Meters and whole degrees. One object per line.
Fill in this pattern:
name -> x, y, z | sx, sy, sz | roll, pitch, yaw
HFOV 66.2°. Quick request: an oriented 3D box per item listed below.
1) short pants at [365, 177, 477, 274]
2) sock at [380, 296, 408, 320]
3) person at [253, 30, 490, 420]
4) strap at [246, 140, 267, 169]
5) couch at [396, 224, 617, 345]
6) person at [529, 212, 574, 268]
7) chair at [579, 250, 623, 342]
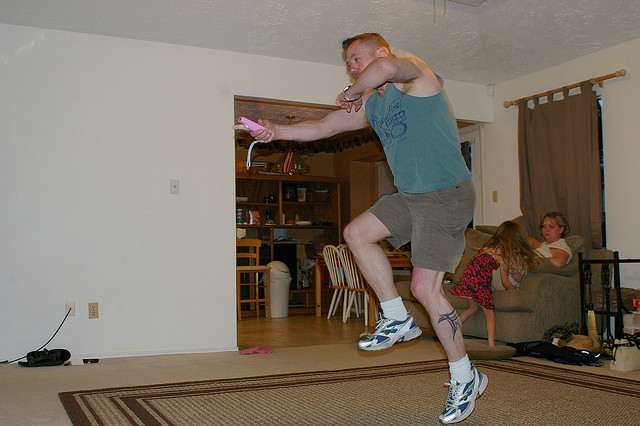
short pants -> 0.703, -0.012, 3.229 | 0.470, 0.636, 0.824 | 0, 14, -22
sock -> 0.448, 0.571, 2.999 | 0.145, 0.130, 0.115 | -16, 1, 21
person -> 0.641, 0.090, 3.305 | 1.379, 2.412, 0.899 | 2, -4, -33
strap -> -0.424, -0.371, 3.082 | 0.161, 0.143, 0.039 | 2, 15, -2
couch -> 2.022, 0.883, 5.226 | 1.381, 1.228, 1.800 | 5, -9, -28
person -> 2.441, 0.264, 5.296 | 0.458, 0.540, 0.740 | 2, 3, -6
chair -> 2.791, 0.811, 4.648 | 0.453, 0.734, 0.452 | -7, 4, -1
